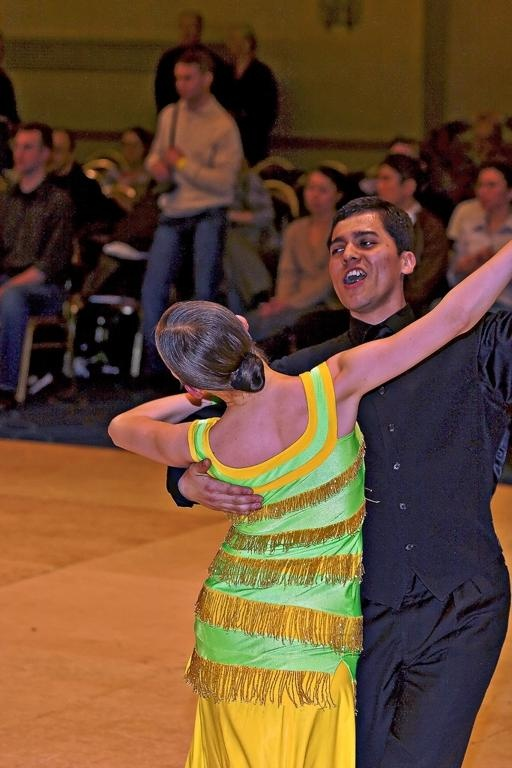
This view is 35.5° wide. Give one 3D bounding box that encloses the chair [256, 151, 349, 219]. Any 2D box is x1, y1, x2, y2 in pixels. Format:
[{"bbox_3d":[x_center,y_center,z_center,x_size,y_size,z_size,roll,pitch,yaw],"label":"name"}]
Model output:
[{"bbox_3d":[0.227,-1.286,5.227,0.471,0.536,0.201,3,38,12],"label":"chair"}]
